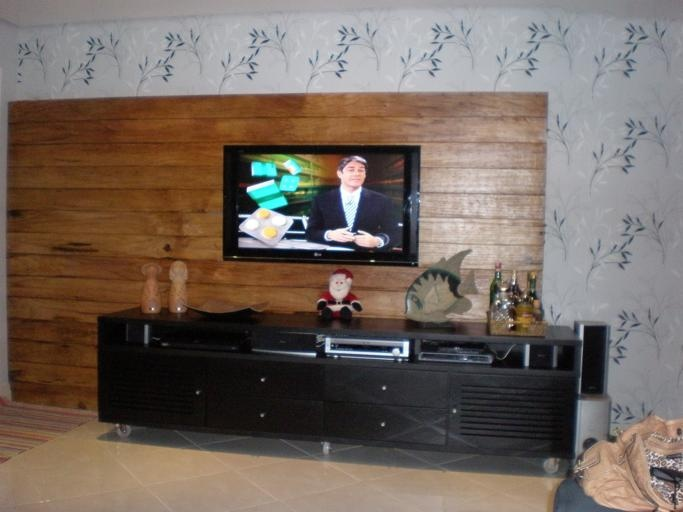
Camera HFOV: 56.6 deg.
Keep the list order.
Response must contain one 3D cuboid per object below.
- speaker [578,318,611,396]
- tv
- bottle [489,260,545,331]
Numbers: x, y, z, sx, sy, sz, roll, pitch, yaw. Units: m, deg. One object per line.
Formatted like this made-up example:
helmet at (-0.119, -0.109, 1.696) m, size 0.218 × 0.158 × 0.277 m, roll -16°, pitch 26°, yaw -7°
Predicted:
speaker at (1.625, 0.662, 4.127) m, size 0.212 × 0.452 × 0.173 m, roll 3°, pitch 14°, yaw 5°
tv at (-0.180, -0.365, 4.547) m, size 1.524 × 0.828 × 0.039 m, roll 2°, pitch 5°, yaw 21°
bottle at (1.104, 0.260, 4.212) m, size 0.503 × 0.415 × 0.374 m, roll 2°, pitch 1°, yaw -12°
